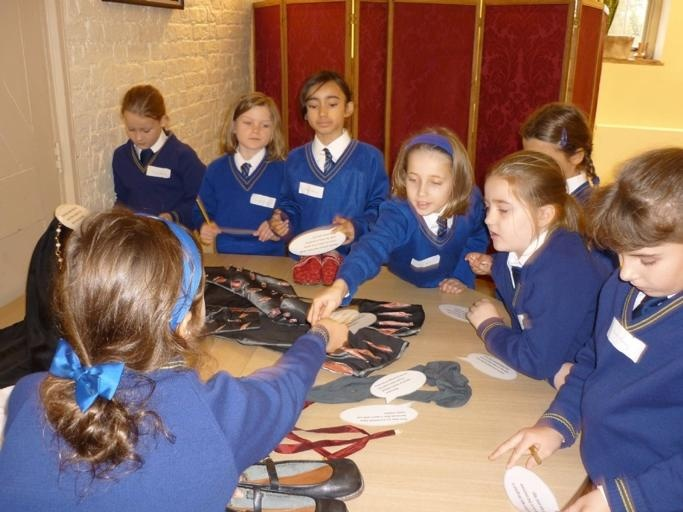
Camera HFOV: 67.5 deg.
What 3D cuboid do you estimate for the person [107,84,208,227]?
[{"bbox_3d":[-1.175,-0.507,3.172,0.574,0.942,0.513,3,31,-2],"label":"person"}]

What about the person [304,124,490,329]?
[{"bbox_3d":[0.196,-0.167,2.049,0.431,0.620,0.901,-15,-26,40],"label":"person"}]

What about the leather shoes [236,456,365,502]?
[{"bbox_3d":[-0.091,0.517,1.175,0.268,0.075,0.098,-5,39,5],"label":"leather shoes"}]

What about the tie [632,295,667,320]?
[{"bbox_3d":[0.754,0.124,1.254,0.017,0.040,0.065,8,-12,-2],"label":"tie"}]

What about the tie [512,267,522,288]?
[{"bbox_3d":[0.588,0.067,1.746,0.020,0.055,0.039,-8,-4,2],"label":"tie"}]

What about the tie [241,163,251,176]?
[{"bbox_3d":[-0.506,-0.457,2.717,0.039,0.061,0.018,10,19,-1],"label":"tie"}]

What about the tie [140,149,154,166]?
[{"bbox_3d":[-1.187,-0.599,3.116,0.072,0.098,0.030,10,15,7],"label":"tie"}]
